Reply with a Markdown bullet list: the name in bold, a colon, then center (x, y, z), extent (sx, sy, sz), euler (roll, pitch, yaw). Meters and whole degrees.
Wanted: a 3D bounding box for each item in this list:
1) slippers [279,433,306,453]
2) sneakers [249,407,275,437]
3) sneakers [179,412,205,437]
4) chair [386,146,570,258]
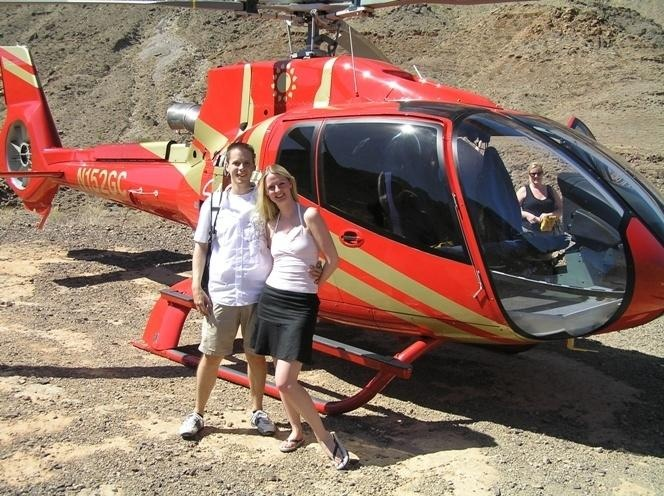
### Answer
- **slippers**: center (-0.348, 1.644, 4.947), extent (0.119, 0.059, 0.250), euler (-2, -3, 34)
- **sneakers**: center (-0.588, 1.527, 5.157), extent (0.154, 0.108, 0.368), euler (-6, 9, -44)
- **sneakers**: center (-1.207, 1.541, 5.106), extent (0.156, 0.099, 0.317), euler (3, -2, 4)
- **chair**: center (1.294, -0.524, 5.550), extent (1.623, 1.249, 1.155), euler (-2, 23, 29)
